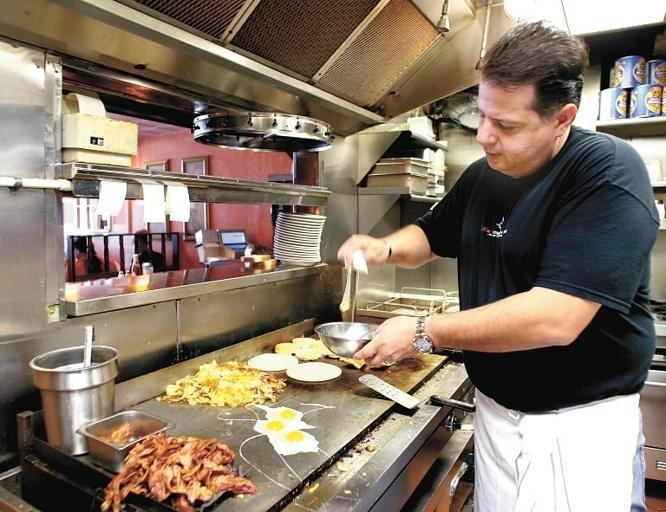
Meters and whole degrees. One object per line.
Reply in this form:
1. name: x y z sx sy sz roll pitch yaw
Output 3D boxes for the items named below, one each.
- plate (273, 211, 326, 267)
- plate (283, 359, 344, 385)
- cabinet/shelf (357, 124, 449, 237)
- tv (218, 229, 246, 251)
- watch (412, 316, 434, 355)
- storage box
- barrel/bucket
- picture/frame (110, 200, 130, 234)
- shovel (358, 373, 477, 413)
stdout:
1. plate: -0.225 -0.103 3.105 0.416 0.285 0.387 1 1 -12
2. plate: -0.108 0.602 2.531 0.289 0.028 0.293 -3 13 -31
3. cabinet/shelf: 0.830 -0.624 4.559 0.532 0.799 1.611 3 5 32
4. tv: -1.409 -0.221 6.781 0.370 0.260 0.094 1 -20 -43
5. watch: 0.326 0.314 1.752 0.064 0.072 0.080 -6 -2 10
6. storage box: -1.054 -0.489 2.105 0.211 0.176 0.321 9 10 21
7. barrel/bucket: -0.989 0.541 1.865 0.289 0.327 0.283 5 14 -1
8. picture/frame: -4.605 -0.874 10.524 0.403 0.679 1.073 0 13 -24
9. shovel: 0.313 0.638 2.280 0.701 0.055 0.184 5 7 41
